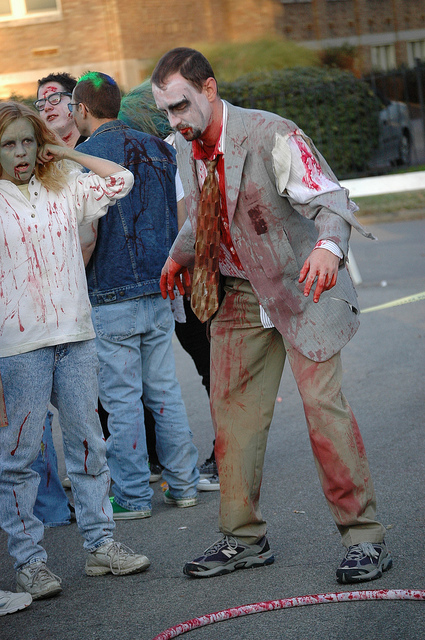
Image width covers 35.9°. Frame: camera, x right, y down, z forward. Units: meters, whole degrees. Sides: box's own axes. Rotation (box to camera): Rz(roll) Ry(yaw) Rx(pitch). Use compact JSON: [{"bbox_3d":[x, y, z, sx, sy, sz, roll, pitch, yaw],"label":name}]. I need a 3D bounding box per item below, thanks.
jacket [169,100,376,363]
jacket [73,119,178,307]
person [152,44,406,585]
[{"bbox_3d":[0.333,-0.339,2.262,0.350,0.936,0.519,-10,1,-36],"label":"jacket"},{"bbox_3d":[-0.385,-0.552,3.328,0.615,0.939,0.194,-10,0,-36],"label":"jacket"},{"bbox_3d":[0.185,-0.034,2.384,0.908,1.948,0.509,-10,1,41],"label":"person"}]
